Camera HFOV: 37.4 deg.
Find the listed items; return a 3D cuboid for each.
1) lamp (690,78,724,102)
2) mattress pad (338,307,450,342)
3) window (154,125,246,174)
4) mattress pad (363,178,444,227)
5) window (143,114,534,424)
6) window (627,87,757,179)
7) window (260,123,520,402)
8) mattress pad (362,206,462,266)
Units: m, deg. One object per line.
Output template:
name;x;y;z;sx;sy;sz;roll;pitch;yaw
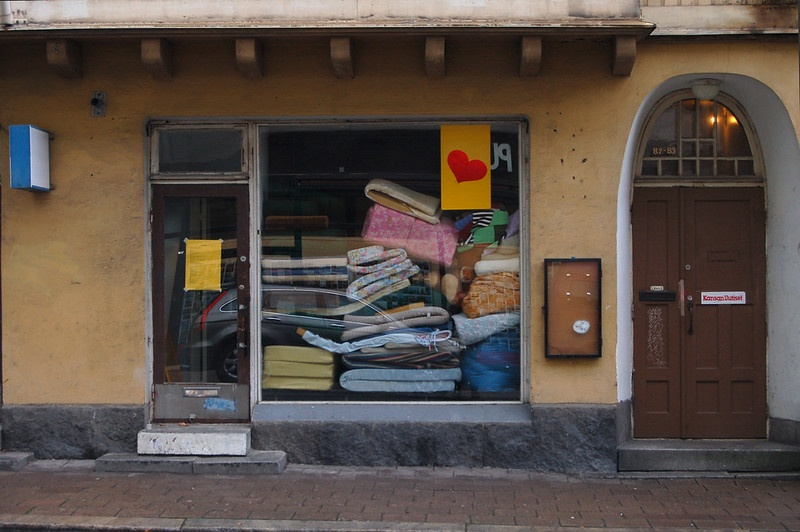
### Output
lamp;3.857;-2.241;14.987;0.294;0.178;0.275;0;-5;-2
mattress pad;-0.132;0.713;15.209;1.616;0.295;0.467;-7;20;2
window;-2.579;-1.462;15.070;1.106;0.528;0.078;-1;7;-6
mattress pad;0.041;-0.844;15.079;0.839;0.225;0.591;15;5;-1
window;-0.646;0.075;15.191;5.401;3.799;0.079;-1;3;-26
window;3.816;-1.651;15.159;1.660;1.079;0.117;-1;3;-11
window;-0.132;-0.016;15.026;4.015;3.652;0.322;0;-2;-2
mattress pad;0.152;-0.398;15.090;1.078;0.290;0.781;14;23;0
